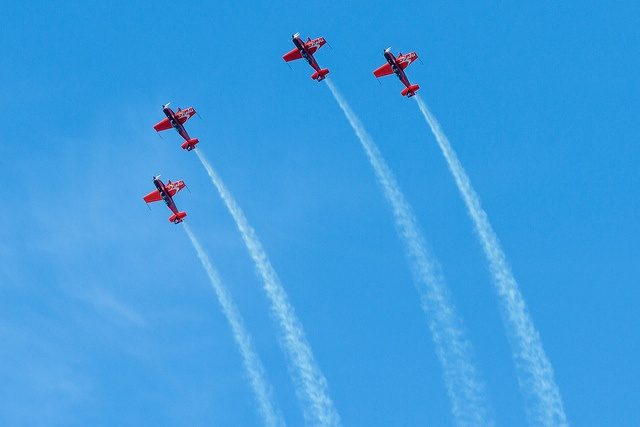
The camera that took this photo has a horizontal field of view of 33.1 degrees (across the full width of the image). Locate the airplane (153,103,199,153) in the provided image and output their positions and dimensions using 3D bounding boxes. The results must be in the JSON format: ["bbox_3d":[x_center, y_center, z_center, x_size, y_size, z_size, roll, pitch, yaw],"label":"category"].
[{"bbox_3d":[-7.936,-4.579,60.792,3.196,1.124,3.186,32,-42,21],"label":"airplane"}]
